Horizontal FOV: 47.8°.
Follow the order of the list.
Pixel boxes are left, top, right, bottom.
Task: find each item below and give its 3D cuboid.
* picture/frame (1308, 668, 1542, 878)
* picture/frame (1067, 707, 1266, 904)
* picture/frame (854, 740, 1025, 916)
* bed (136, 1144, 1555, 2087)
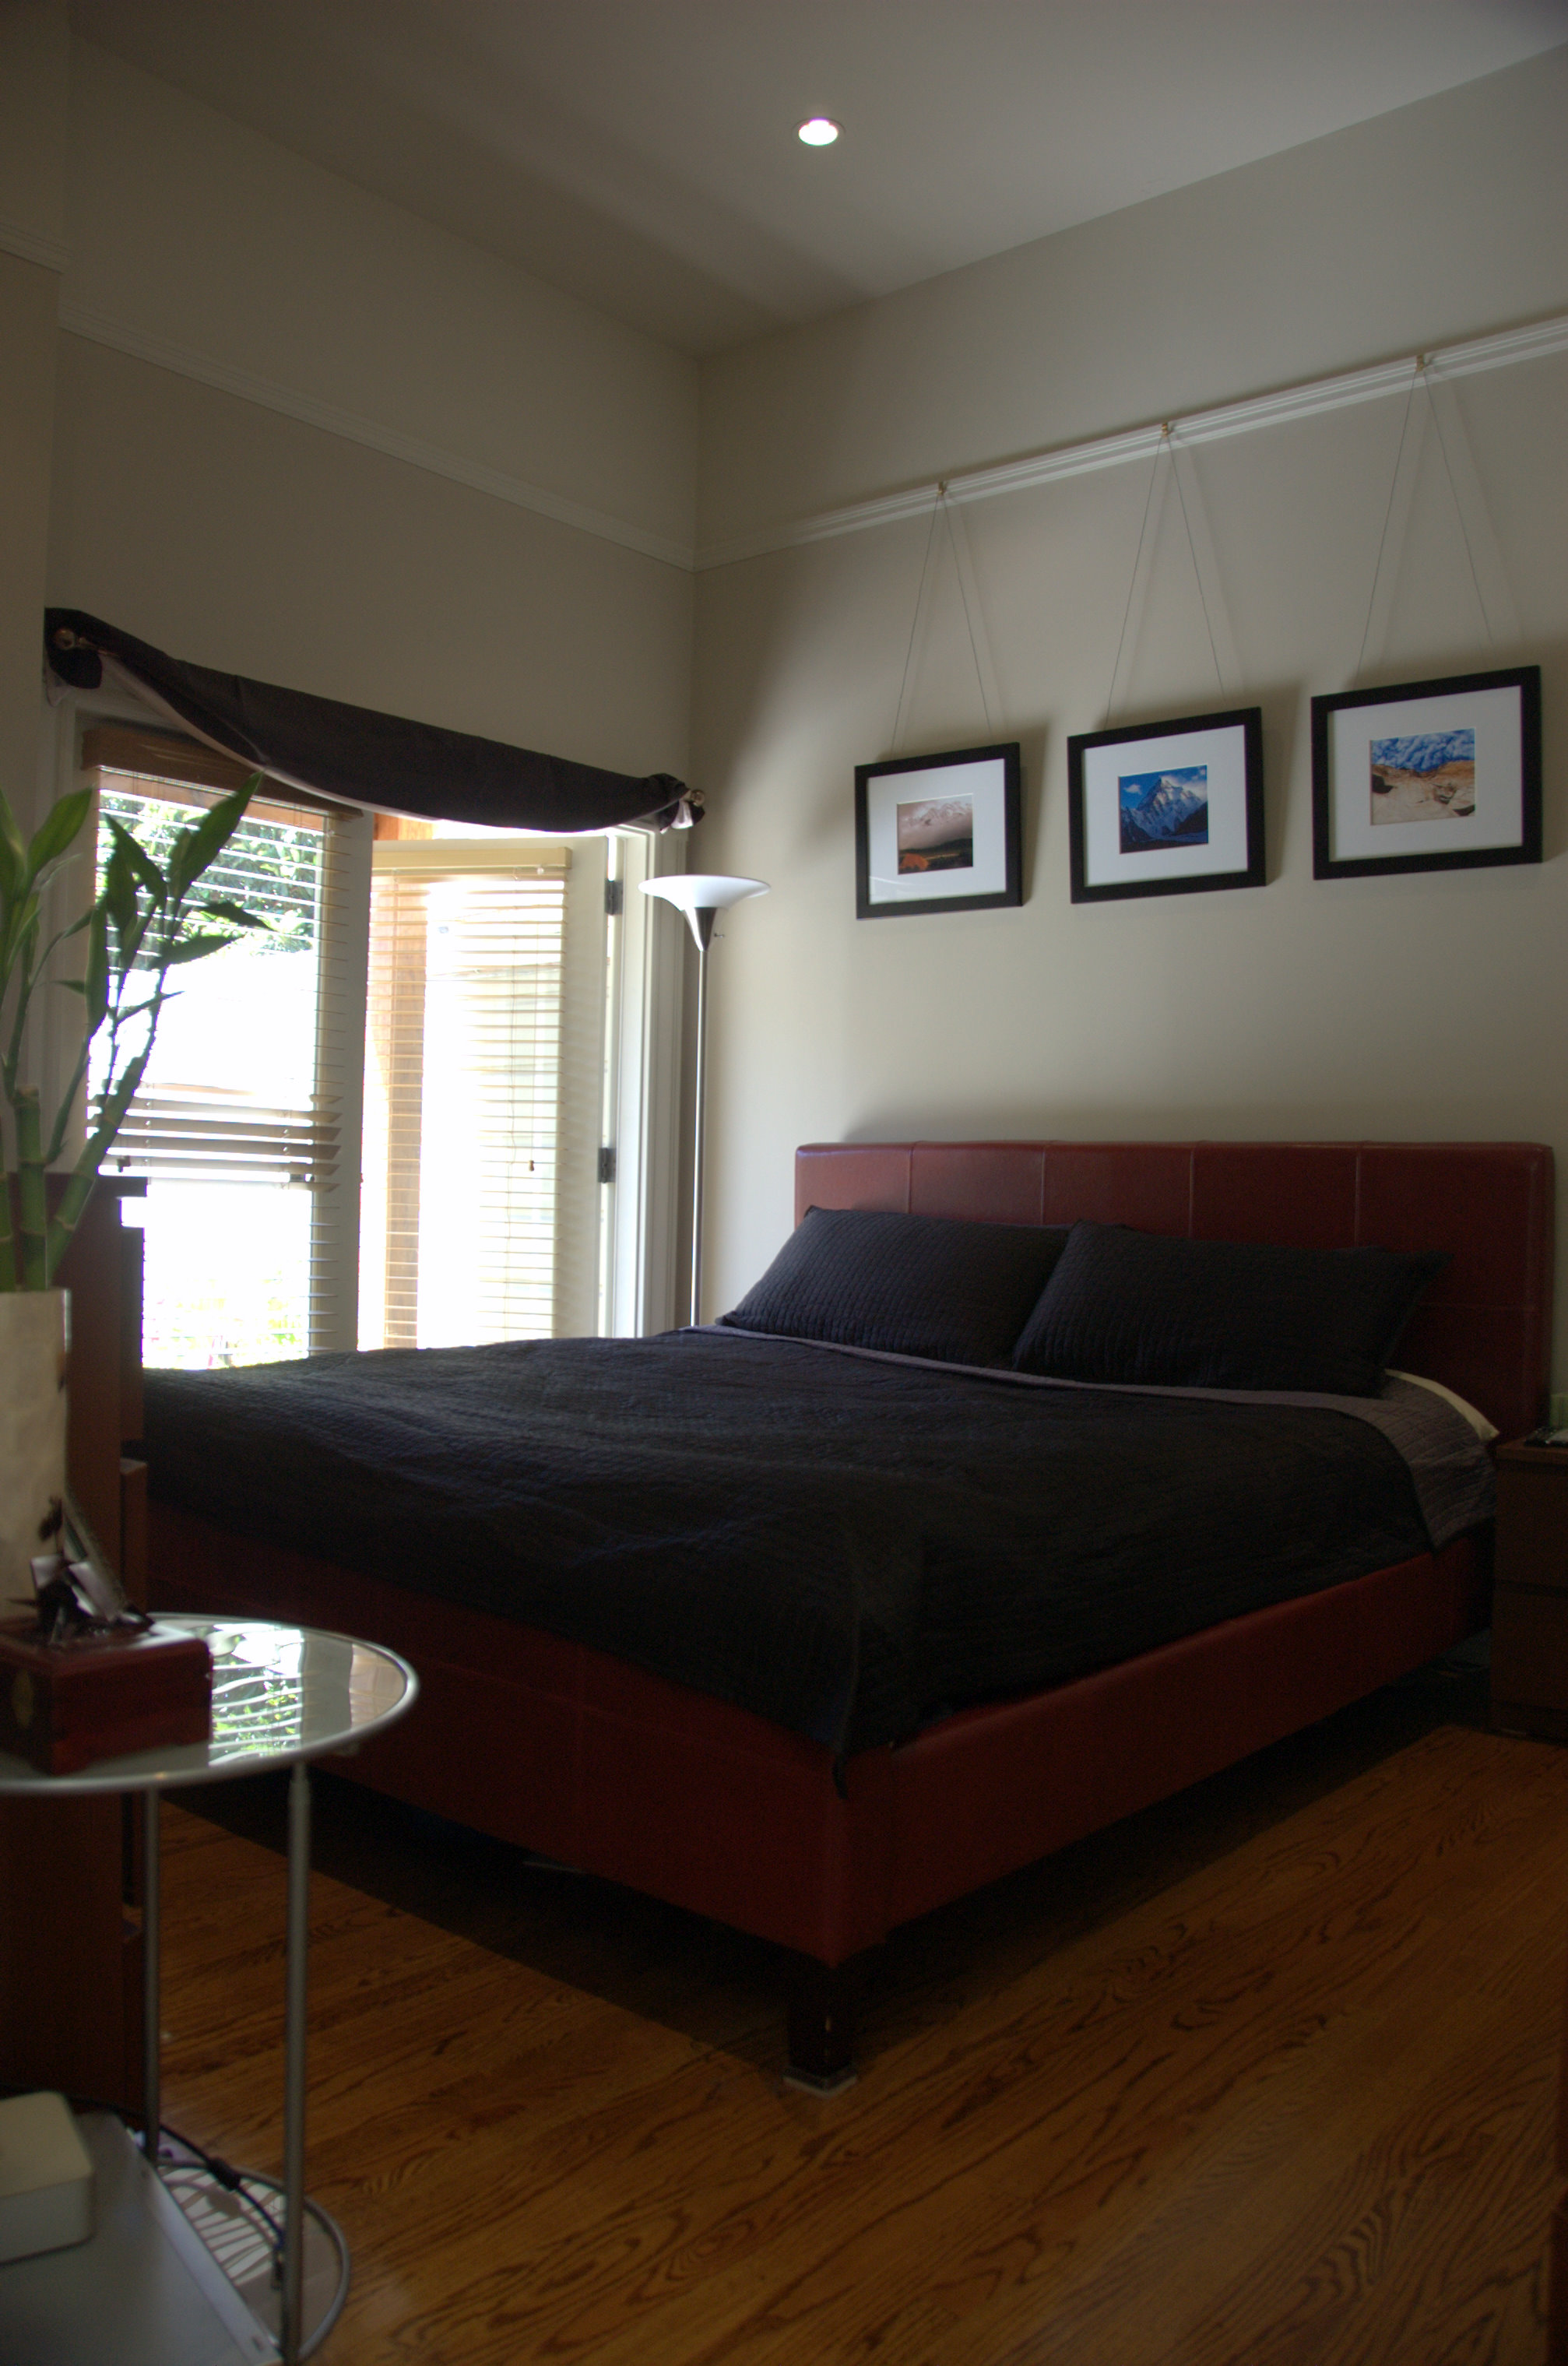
[{"bbox_3d":[1.339,-0.839,3.629,0.440,0.405,0.035,5,6,45],"label":"picture/frame"},{"bbox_3d":[0.894,-0.862,4.049,0.458,0.404,0.036,3,2,43],"label":"picture/frame"},{"bbox_3d":[0.413,-0.898,4.505,0.034,0.409,0.461,-1,3,-44],"label":"picture/frame"},{"bbox_3d":[0.265,0.471,2.534,1.439,0.748,1.457,-1,-2,44],"label":"bed"}]
